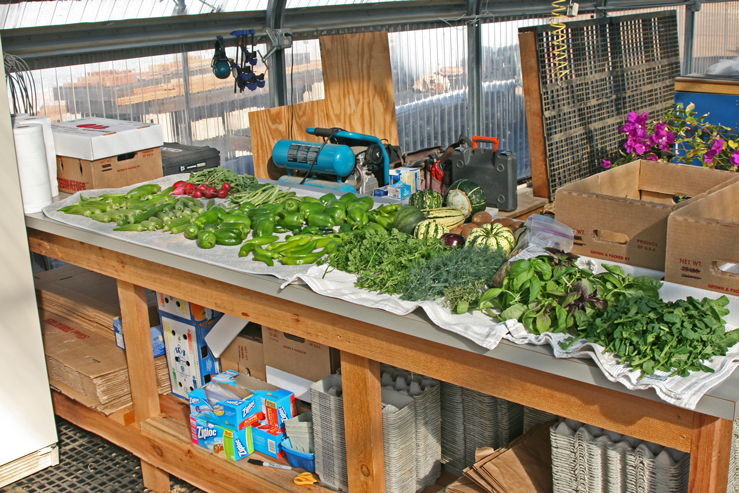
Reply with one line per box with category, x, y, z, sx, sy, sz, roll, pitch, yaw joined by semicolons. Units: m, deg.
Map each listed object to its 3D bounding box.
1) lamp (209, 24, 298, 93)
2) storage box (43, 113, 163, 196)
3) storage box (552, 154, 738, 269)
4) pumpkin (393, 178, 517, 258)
lamp;-1.234;-1.765;5.330;0.887;0.700;0.520;-13;25;-35
storage box;-1.831;-0.634;3.901;0.514;0.520;0.695;16;26;40
storage box;1.351;-0.178;2.812;0.599;0.261;0.840;17;29;35
pumpkin;0.487;-0.154;2.863;0.719;0.333;0.590;7;24;20
